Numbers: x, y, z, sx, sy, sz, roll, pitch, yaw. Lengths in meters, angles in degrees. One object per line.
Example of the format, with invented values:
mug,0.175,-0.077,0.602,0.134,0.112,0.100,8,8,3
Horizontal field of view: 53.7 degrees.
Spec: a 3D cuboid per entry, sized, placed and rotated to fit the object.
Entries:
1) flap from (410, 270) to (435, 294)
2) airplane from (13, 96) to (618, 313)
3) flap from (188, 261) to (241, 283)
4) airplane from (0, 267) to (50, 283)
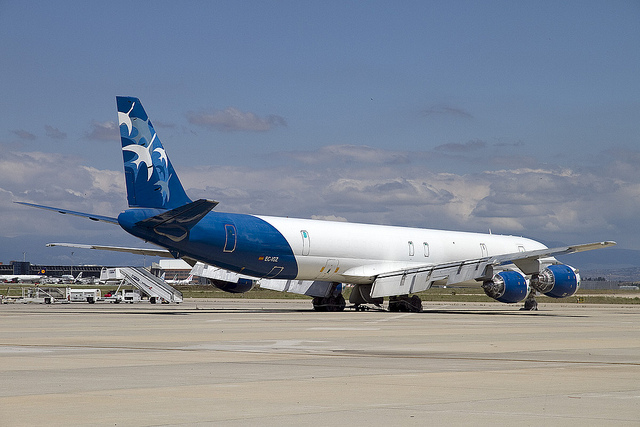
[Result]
flap,5.188,3.550,32.619,1.425,1.004,0.316,1,-12,23
airplane,4.067,2.087,34.302,30.955,6.899,25.819,10,-12,-15
flap,-5.737,3.302,34.629,2.430,0.630,1.555,11,-5,-22
airplane,-74.737,15.565,158.582,8.400,2.300,7.239,-1,1,-26
